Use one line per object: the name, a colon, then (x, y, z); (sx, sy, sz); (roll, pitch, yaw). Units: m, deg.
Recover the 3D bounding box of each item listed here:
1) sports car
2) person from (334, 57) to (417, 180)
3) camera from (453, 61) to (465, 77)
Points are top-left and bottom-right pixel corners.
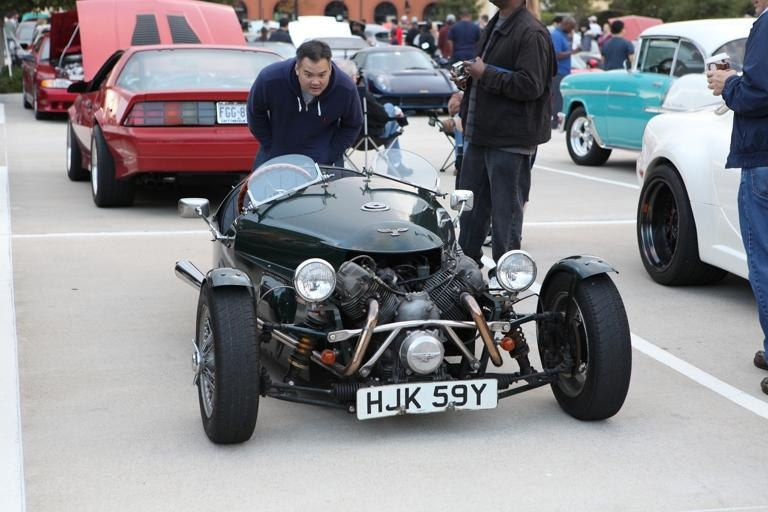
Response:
sports car: (0.015, 0.270, 5.747); (1.619, 1.148, 2.697); (-2, 5, -16)
person: (-0.026, -1.603, 11.788); (0.710, 1.074, 0.702); (2, 3, -4)
camera: (0.604, -1.532, 7.370); (0.116, 0.118, 0.137); (15, 21, 28)
